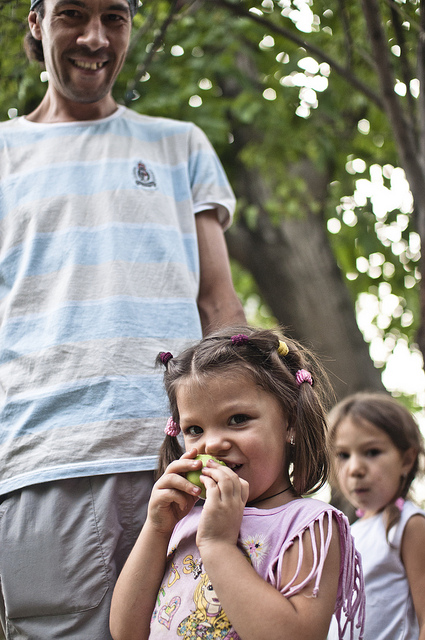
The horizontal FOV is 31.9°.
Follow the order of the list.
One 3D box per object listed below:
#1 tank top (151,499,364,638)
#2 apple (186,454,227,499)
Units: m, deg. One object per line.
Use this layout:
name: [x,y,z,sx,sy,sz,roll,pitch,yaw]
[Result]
tank top: [0.099,0.607,1.808,0.439,0.219,0.347,2,58,12]
apple: [-0.037,0.389,1.893,0.126,0.119,0.111,0,7,-1]
